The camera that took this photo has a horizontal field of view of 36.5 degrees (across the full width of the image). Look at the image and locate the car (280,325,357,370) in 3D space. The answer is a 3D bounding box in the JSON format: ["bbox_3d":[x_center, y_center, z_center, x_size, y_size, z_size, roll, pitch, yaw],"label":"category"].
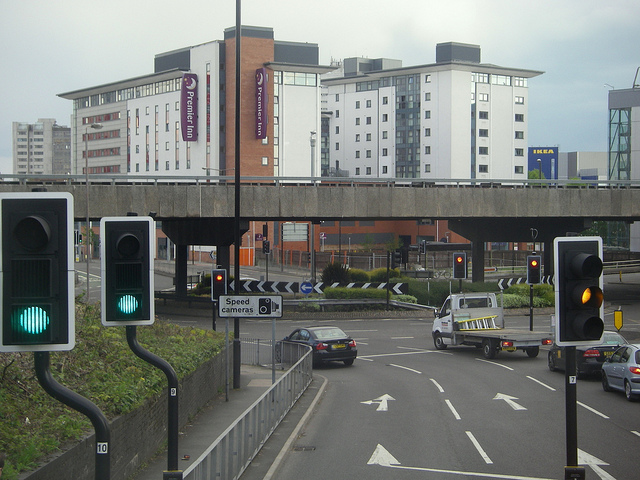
[{"bbox_3d":[-0.276,4.127,38.223,1.849,1.767,4.326,-1,-1,-29],"label":"car"}]

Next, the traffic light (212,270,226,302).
[{"bbox_3d":[-3.067,1.397,29.414,0.455,1.088,0.144,1,-26,-10],"label":"traffic light"}]

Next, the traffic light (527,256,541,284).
[{"bbox_3d":[8.938,1.222,40.570,0.469,1.156,0.764,0,0,14],"label":"traffic light"}]

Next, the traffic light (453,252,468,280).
[{"bbox_3d":[6.618,1.164,45.839,0.570,0.838,1.167,0,0,5],"label":"traffic light"}]

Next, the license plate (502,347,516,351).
[{"bbox_3d":[7.222,4.096,37.064,0.494,0.071,0.319,-1,-1,11],"label":"license plate"}]

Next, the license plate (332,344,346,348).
[{"bbox_3d":[0.692,3.931,36.437,0.486,0.090,0.082,0,0,-21],"label":"license plate"}]

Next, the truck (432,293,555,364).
[{"bbox_3d":[6.895,3.706,38.985,2.251,2.375,4.510,-1,3,-29],"label":"truck"}]
